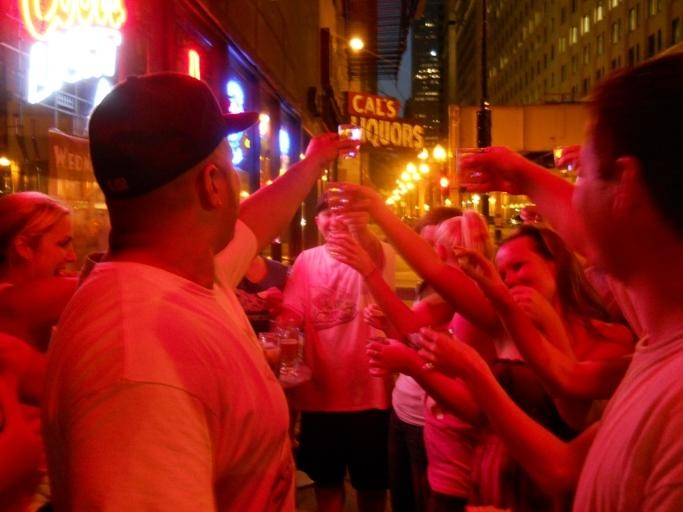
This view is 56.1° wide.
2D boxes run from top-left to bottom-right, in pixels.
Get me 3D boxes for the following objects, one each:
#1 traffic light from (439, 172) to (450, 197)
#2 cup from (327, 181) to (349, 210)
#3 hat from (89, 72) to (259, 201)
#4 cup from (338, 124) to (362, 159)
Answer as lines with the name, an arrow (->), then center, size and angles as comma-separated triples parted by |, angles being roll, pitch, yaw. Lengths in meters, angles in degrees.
traffic light -> 2.887, -2.059, 17.958 | 0.294, 0.339, 0.671 | -20, -20, 5
cup -> -0.026, -0.345, 3.636 | 0.100, 0.152, 0.149 | -1, 2, -3
hat -> -0.609, -0.434, 2.286 | 0.493, 0.293, 0.341 | -35, 30, -18
cup -> 0.053, -0.646, 3.591 | 0.140, 0.200, 0.161 | 0, 0, -3
